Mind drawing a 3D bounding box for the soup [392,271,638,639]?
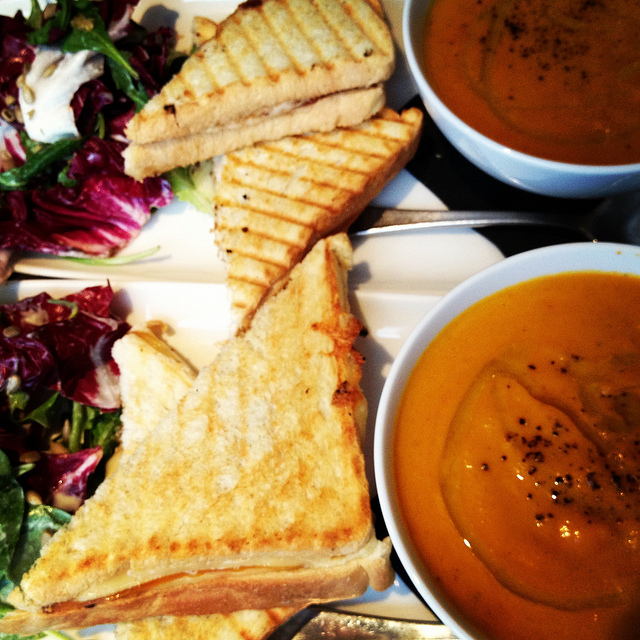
[{"bbox_3d":[0.451,0.293,1.587,0.585,0.096,0.784,-7,73,7],"label":"soup"}]
